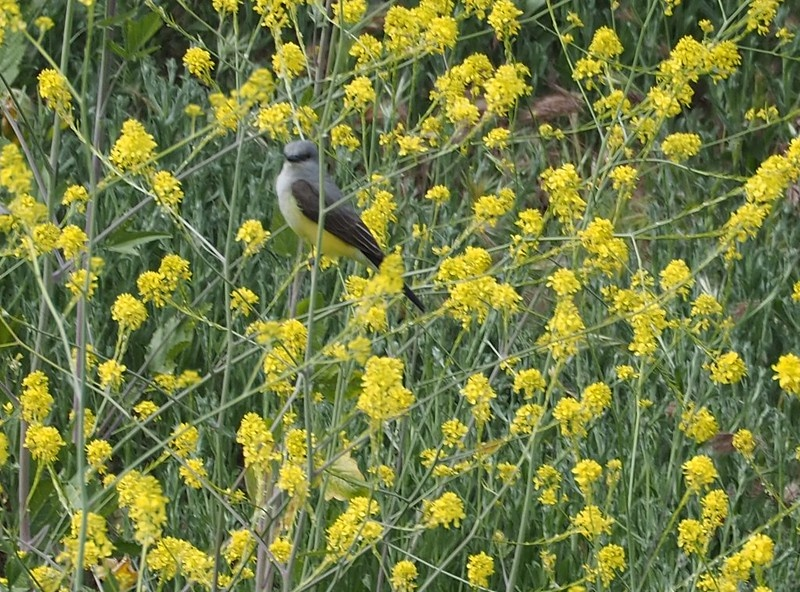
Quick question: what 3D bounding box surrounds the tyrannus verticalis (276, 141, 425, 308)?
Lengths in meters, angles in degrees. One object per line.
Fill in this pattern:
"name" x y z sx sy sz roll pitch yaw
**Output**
"tyrannus verticalis" -0.208 -0.275 5.600 0.766 0.498 0.242 30 23 10
